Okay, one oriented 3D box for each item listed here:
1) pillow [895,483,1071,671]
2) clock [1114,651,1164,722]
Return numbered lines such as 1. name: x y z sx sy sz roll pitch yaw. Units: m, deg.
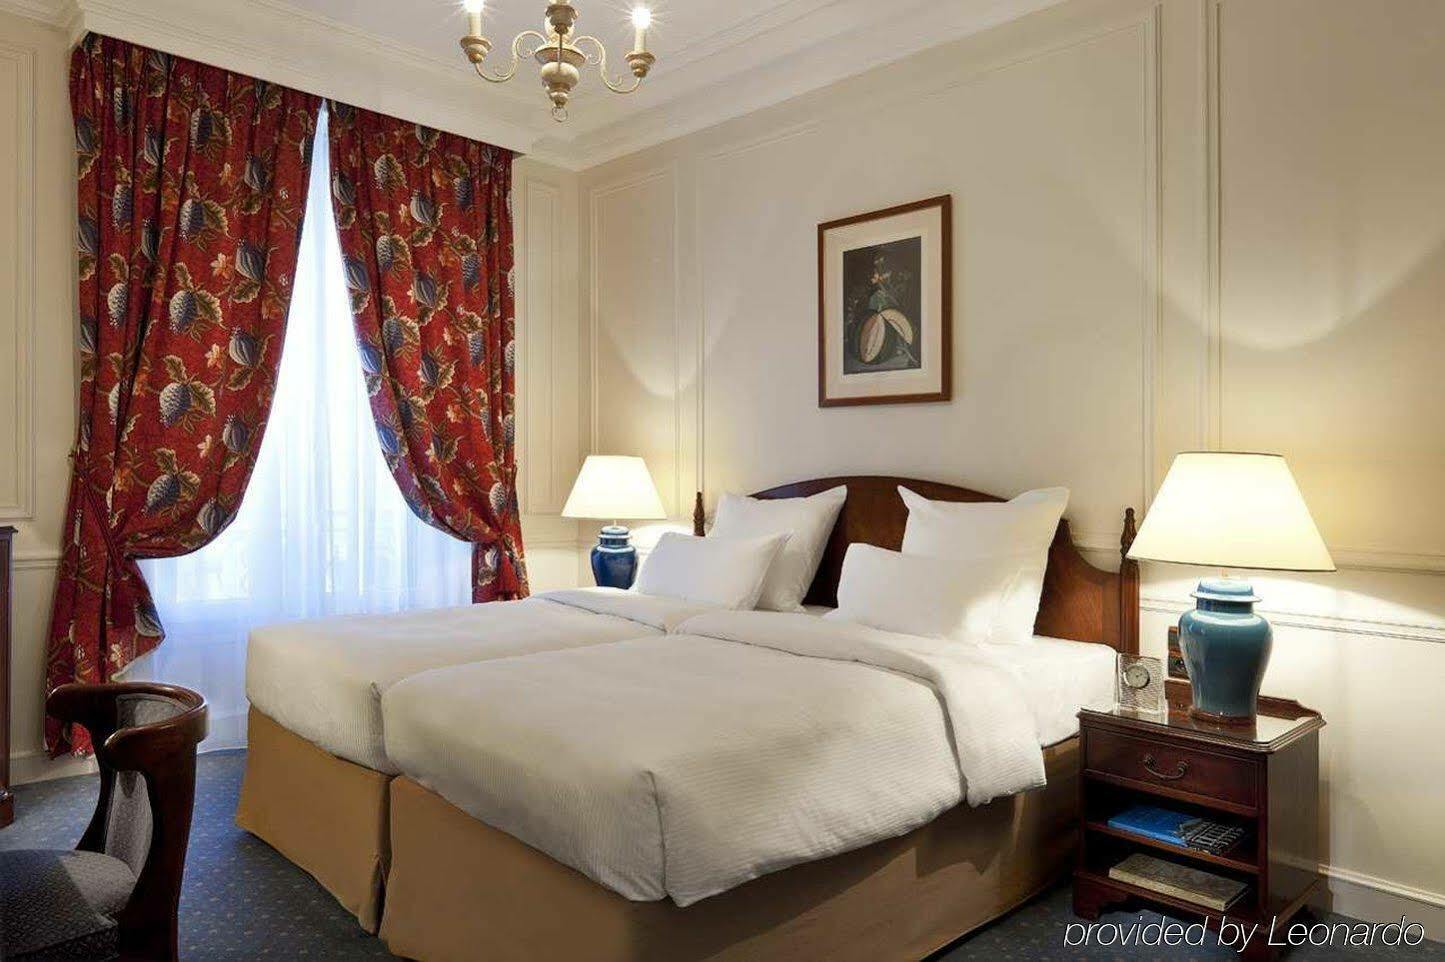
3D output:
1. pillow: 1.296 0.429 4.851 0.698 0.764 0.215 3 -16 45
2. clock: 1.739 0.872 4.223 0.086 0.274 0.194 18 -19 -40
